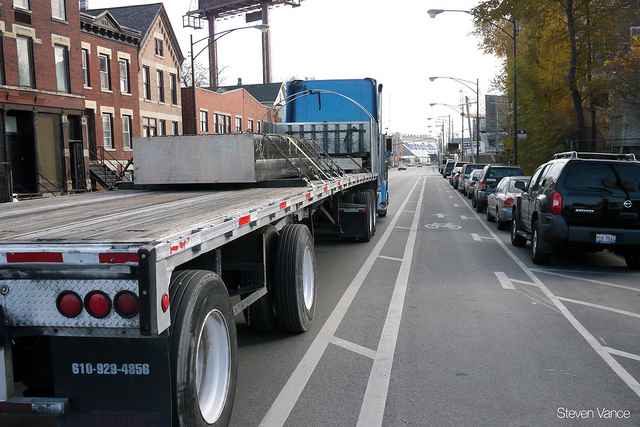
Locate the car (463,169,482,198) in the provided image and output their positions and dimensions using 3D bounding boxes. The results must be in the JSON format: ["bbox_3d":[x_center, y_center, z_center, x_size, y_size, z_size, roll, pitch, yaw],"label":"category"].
[{"bbox_3d":[9.208,-1.956,32.460,1.040,1.196,2.403,1,10,9],"label":"car"}]

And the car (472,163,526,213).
[{"bbox_3d":[8.105,-1.251,24.578,1.726,1.858,3.972,0,8,6],"label":"car"}]

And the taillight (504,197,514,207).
[{"bbox_3d":[6.144,-0.377,17.186,0.199,0.353,0.491,-2,7,-7],"label":"taillight"}]

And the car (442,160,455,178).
[{"bbox_3d":[16.869,-5.775,69.831,1.734,1.937,3.851,2,9,12],"label":"car"}]

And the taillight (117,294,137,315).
[{"bbox_3d":[-1.536,0.719,4.233,0.150,0.168,0.056,1,2,-3],"label":"taillight"}]

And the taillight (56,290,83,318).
[{"bbox_3d":[-2.017,0.725,4.279,0.195,0.226,0.037,1,1,6],"label":"taillight"}]

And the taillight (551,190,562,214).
[{"bbox_3d":[5.149,-0.250,11.547,0.212,0.481,0.109,4,8,33],"label":"taillight"}]

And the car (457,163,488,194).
[{"bbox_3d":[10.927,-2.690,38.560,1.437,1.575,2.643,0,11,4],"label":"car"}]

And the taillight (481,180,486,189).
[{"bbox_3d":[7.308,-1.320,23.744,0.253,0.548,0.304,-2,1,11],"label":"taillight"}]

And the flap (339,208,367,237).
[{"bbox_3d":[0.887,0.234,14.296,0.577,0.806,1.155,0,-2,11],"label":"flap"}]

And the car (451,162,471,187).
[{"bbox_3d":[12.721,-3.727,47.996,1.500,1.643,2.903,0,-2,7],"label":"car"}]

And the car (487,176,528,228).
[{"bbox_3d":[6.200,-0.408,18.427,1.017,1.207,2.737,0,7,2],"label":"car"}]
